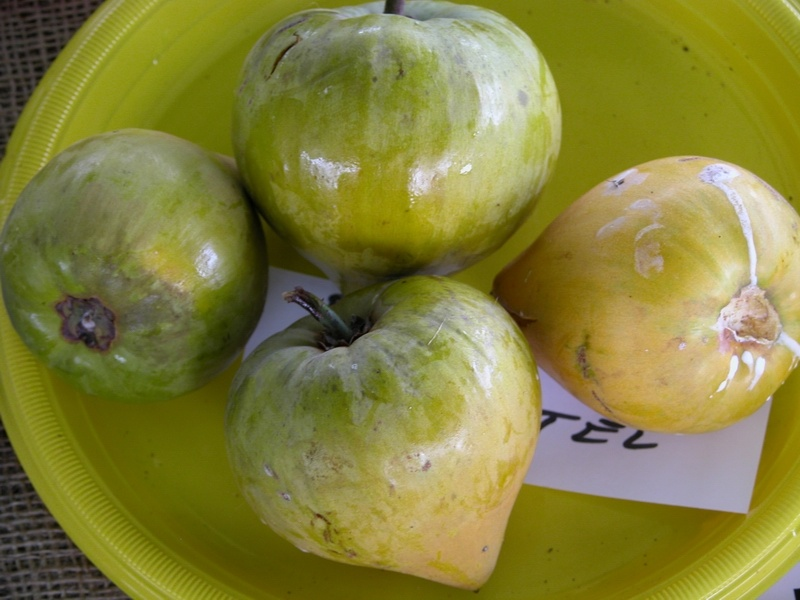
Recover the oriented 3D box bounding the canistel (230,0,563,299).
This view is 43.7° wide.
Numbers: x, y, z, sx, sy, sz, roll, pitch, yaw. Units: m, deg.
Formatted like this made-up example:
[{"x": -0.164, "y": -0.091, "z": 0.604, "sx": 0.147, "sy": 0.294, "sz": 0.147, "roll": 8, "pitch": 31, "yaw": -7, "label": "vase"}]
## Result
[{"x": -0.014, "y": -0.188, "z": 1.139, "sx": 0.326, "sy": 0.334, "sz": 0.310, "roll": 1, "pitch": 103, "yaw": -2, "label": "canistel"}]
